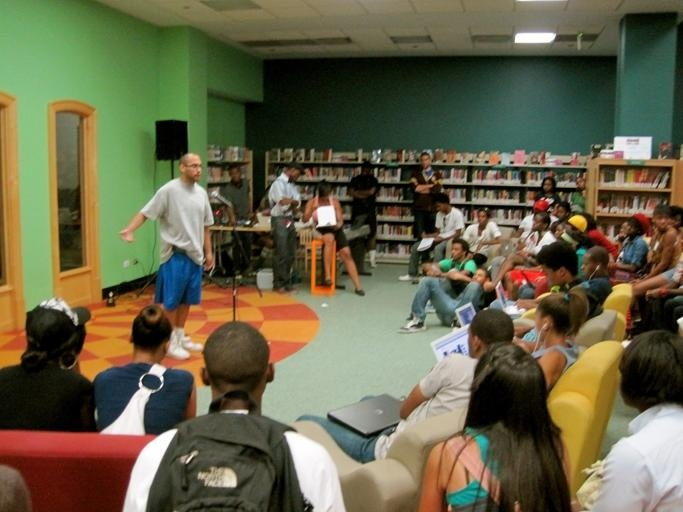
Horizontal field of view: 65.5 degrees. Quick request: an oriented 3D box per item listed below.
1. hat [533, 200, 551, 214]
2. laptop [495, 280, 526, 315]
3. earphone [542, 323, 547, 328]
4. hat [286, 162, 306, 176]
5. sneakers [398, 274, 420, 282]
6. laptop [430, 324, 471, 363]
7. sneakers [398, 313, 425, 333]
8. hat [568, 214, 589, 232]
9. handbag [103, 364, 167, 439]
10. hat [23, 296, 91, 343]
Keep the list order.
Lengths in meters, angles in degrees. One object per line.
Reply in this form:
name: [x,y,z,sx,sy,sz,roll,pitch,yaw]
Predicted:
hat: [3.200,-0.784,8.406,0.325,0.201,0.222,-15,24,-43]
laptop: [1.651,0.478,5.267,0.334,0.337,0.499,-3,8,19]
earphone: [1.226,0.414,3.184,0.024,0.007,0.027,-8,8,-1]
hat: [-0.726,-1.335,8.235,0.246,0.241,0.228,-4,5,-22]
sneakers: [1.180,0.388,9.263,0.377,0.168,0.143,4,5,7]
laptop: [0.733,0.556,3.523,0.275,0.207,0.236,-24,5,19]
sneakers: [0.864,0.816,6.413,0.374,0.280,0.155,-1,3,-4]
hat: [2.824,-0.391,6.300,0.213,0.185,0.302,31,11,18]
handbag: [-0.924,0.665,2.360,0.157,0.076,0.365,19,55,-2]
hat: [-1.376,0.351,2.592,0.179,0.154,0.289,21,33,15]
